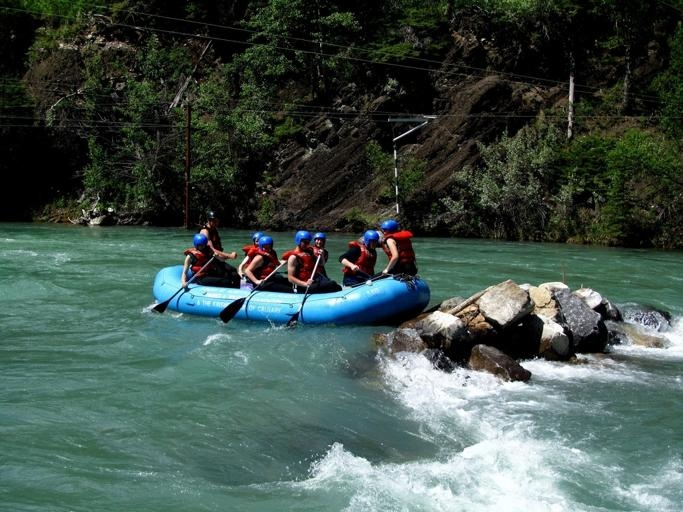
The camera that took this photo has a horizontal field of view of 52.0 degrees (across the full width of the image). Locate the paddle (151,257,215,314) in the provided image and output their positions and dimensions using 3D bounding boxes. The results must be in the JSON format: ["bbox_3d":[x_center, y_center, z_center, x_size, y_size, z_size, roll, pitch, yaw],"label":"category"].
[{"bbox_3d":[-3.734,0.734,16.658,2.316,0.116,0.478,-34,38,-8],"label":"paddle"}]

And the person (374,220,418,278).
[{"bbox_3d":[1.136,-0.161,15.711,0.923,1.323,1.036,-11,10,-1],"label":"person"}]

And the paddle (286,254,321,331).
[{"bbox_3d":[-0.815,0.895,15.335,0.340,0.250,2.339,16,51,13],"label":"paddle"}]

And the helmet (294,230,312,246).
[{"bbox_3d":[-0.860,-0.415,15.584,0.407,0.313,0.295,8,11,42],"label":"helmet"}]

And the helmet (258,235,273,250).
[{"bbox_3d":[-1.739,-0.317,15.980,0.302,0.288,0.507,3,3,-9],"label":"helmet"}]

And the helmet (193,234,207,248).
[{"bbox_3d":[-3.269,-0.361,16.320,0.299,0.318,0.370,3,3,-10],"label":"helmet"}]

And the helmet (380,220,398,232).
[{"bbox_3d":[1.043,-0.684,15.582,0.345,0.293,0.275,5,10,30],"label":"helmet"}]

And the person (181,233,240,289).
[{"bbox_3d":[-3.250,0.029,16.793,1.484,1.117,1.042,-1,25,8],"label":"person"}]

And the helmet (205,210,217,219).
[{"bbox_3d":[-3.209,-1.041,17.307,0.251,0.249,0.310,3,-8,-15],"label":"helmet"}]

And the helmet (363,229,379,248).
[{"bbox_3d":[0.655,-0.449,15.609,0.292,0.371,0.363,-8,-37,-28],"label":"helmet"}]

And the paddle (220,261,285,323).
[{"bbox_3d":[-1.982,0.844,15.818,2.382,0.313,0.137,-36,6,-33],"label":"paddle"}]
